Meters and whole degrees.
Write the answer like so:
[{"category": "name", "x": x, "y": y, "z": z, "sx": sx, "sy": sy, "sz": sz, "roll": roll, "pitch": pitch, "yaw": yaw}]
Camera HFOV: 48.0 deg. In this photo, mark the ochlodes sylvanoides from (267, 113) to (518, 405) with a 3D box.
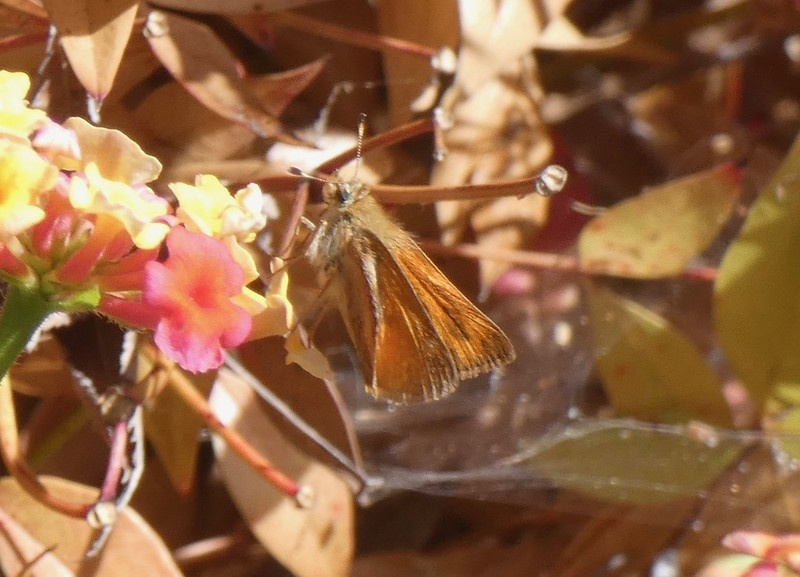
[{"category": "ochlodes sylvanoides", "x": 0.001, "y": -0.002, "z": 0.605, "sx": 0.127, "sy": 0.176, "sz": 0.109, "roll": -15, "pitch": 13, "yaw": 47}]
